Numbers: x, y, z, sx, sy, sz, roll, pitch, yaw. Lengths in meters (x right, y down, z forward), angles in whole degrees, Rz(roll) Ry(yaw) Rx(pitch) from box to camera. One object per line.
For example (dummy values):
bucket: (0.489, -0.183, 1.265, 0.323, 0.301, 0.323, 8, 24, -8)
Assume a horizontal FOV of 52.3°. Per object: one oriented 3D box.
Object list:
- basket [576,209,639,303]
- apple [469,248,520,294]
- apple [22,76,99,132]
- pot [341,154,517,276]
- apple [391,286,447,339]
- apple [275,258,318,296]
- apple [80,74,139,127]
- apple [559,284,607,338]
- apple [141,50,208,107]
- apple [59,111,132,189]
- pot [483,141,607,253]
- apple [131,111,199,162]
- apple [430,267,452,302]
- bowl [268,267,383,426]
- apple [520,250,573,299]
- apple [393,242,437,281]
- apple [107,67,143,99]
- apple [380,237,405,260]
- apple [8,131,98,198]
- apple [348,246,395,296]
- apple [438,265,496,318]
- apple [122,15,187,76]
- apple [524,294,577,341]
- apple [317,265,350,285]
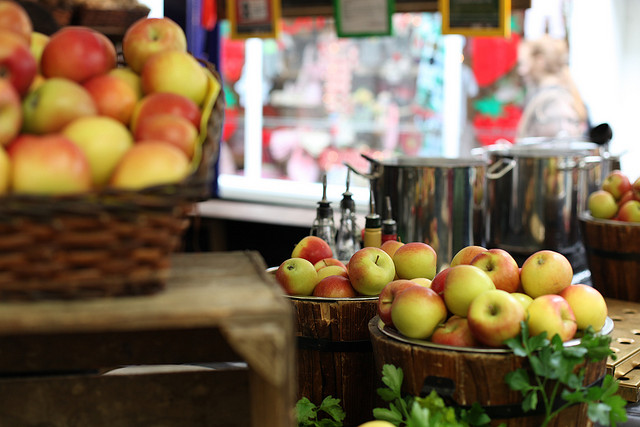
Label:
basket: (0.987, 0.157, 2.193, 0.200, 0.211, 0.239, -1, 4, -8)
apple: (0.364, 0.114, 1.364, 0.078, 0.091, 0.088, 2, -25, -2)
apple: (-0.419, -0.174, 1.053, 0.087, 0.100, 0.094, -15, 47, -35)
pot: (0.381, -0.042, 2.102, 0.525, 0.446, 0.346, -1, 2, -5)
apple: (0.186, 0.180, 1.263, 0.091, 0.120, 0.095, -4, 11, -31)
apple: (-0.050, 0.141, 1.439, 0.075, 0.088, 0.079, -7, 16, -3)
apple: (-0.349, -0.196, 1.096, 0.088, 0.087, 0.080, 3, -6, -13)
apple: (0.531, 0.187, 1.299, 0.082, 0.101, 0.090, -1, 5, -36)
apple: (-0.247, -0.229, 1.150, 0.092, 0.120, 0.088, -13, 11, -43)
apple: (-0.352, -0.104, 1.092, 0.108, 0.149, 0.118, 1, -4, 12)
pot: (0.877, -0.080, 2.681, 0.398, 0.428, 0.437, -3, 14, 1)
apple: (-0.245, -0.133, 1.049, 0.089, 0.088, 0.085, -5, 44, -9)
apple: (0.238, 0.137, 1.300, 0.047, 0.063, 0.049, 26, 7, 17)
bowl: (0.002, 0.305, 1.497, 0.234, 0.248, 0.279, 1, -2, -14)
apple: (0.455, 0.127, 1.351, 0.091, 0.098, 0.088, -37, 17, -36)
apple: (0.212, 0.111, 1.454, 0.072, 0.098, 0.081, -5, 12, 6)
apple: (-0.336, -0.227, 1.148, 0.049, 0.070, 0.054, 3, 9, 1)
apple: (0.171, 0.085, 1.579, 0.038, 0.055, 0.042, 9, 6, 11)
apple: (-0.402, -0.070, 1.009, 0.102, 0.136, 0.108, -10, -10, -22)
apple: (0.105, 0.137, 1.463, 0.087, 0.111, 0.098, 6, 44, -11)
apple: (0.279, 0.139, 1.291, 0.085, 0.117, 0.094, -16, 0, 1)
apple: (-0.306, -0.320, 1.244, 0.094, 0.114, 0.109, 9, -23, -3)
apple: (0.429, 0.179, 1.237, 0.070, 0.082, 0.080, 2, 42, -15)
apple: (0.023, 0.146, 1.476, 0.039, 0.050, 0.044, -2, -10, 7)
